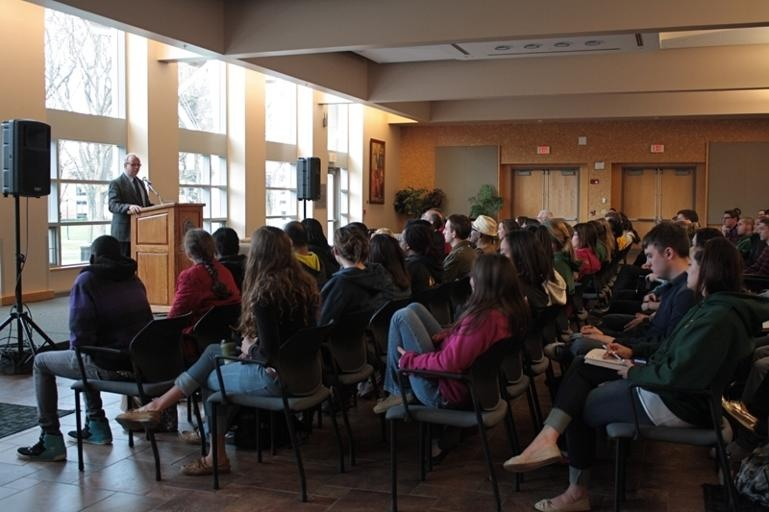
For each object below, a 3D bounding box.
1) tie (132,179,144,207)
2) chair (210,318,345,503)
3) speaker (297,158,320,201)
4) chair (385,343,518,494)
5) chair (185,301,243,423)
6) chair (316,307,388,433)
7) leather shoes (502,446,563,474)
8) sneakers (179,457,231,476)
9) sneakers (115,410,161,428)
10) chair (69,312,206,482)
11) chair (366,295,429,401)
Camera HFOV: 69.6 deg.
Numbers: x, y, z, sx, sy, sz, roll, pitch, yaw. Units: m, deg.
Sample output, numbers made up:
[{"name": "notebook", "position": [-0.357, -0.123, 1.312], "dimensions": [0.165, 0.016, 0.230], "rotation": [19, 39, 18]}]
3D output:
[{"name": "tie", "position": [-3.647, -0.951, 8.230], "dimensions": [0.077, 0.341, 0.203], "rotation": [-8, -3, 16]}, {"name": "chair", "position": [-0.872, 0.945, 4.161], "dimensions": [1.017, 1.409, 1.096], "rotation": [1, -3, 19]}, {"name": "speaker", "position": [-1.580, -1.587, 11.430], "dimensions": [0.375, 0.884, 0.381], "rotation": [1, 5, 14]}, {"name": "chair", "position": [0.422, 1.018, 3.998], "dimensions": [0.954, 1.264, 0.941], "rotation": [0, -2, 19]}, {"name": "chair", "position": [-1.389, 1.033, 4.594], "dimensions": [0.487, 0.669, 0.482], "rotation": [-1, -34, -22]}, {"name": "chair", "position": [-0.330, 0.864, 4.440], "dimensions": [0.523, 0.708, 0.447], "rotation": [-12, -1, 35]}, {"name": "leather shoes", "position": [0.870, 1.203, 3.325], "dimensions": [0.364, 0.145, 0.161], "rotation": [-4, -15, -10]}, {"name": "sneakers", "position": [-1.262, 1.485, 3.876], "dimensions": [0.267, 0.104, 0.155], "rotation": [3, -10, -2]}, {"name": "sneakers", "position": [-1.713, 1.143, 3.879], "dimensions": [0.272, 0.137, 0.113], "rotation": [0, -21, 10]}, {"name": "chair", "position": [-1.968, 0.996, 4.526], "dimensions": [0.958, 1.384, 1.124], "rotation": [1, -5, 9]}, {"name": "chair", "position": [0.089, 0.696, 3.808], "dimensions": [0.307, 0.576, 0.232], "rotation": [23, 10, 37]}]
